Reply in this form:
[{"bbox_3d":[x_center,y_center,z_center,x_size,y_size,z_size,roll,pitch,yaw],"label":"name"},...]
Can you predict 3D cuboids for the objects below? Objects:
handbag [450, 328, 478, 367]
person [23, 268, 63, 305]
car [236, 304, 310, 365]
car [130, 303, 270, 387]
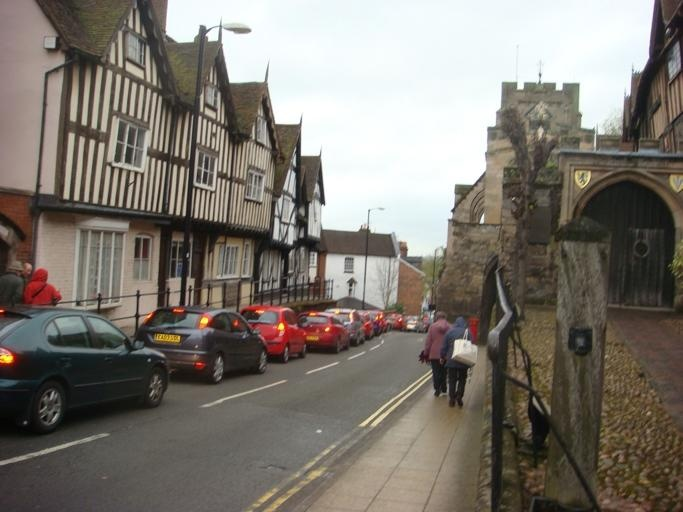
[{"bbox_3d":[2.687,2.071,11.900,0.509,0.737,0.658,2,-3,12],"label":"handbag"},{"bbox_3d":[-7.060,0.718,12.807,0.523,1.278,0.893,0,2,23],"label":"person"},{"bbox_3d":[-2.245,2.683,19.386,1.274,1.346,2.659,0,1,16],"label":"car"},{"bbox_3d":[-3.412,2.321,14.332,1.650,1.498,3.035,0,0,21],"label":"car"}]
